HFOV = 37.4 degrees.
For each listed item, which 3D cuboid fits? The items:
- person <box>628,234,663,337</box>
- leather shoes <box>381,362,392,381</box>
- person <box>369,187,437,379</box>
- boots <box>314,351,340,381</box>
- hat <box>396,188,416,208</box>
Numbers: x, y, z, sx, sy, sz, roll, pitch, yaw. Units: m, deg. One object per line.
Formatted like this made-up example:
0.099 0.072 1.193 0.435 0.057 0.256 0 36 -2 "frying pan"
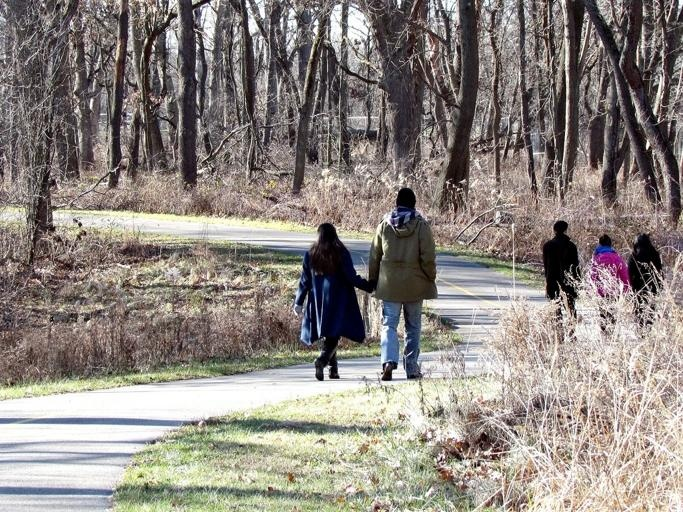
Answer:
5.201 0.431 17.529 0.555 1.835 0.477 10 37 31 "person"
0.649 1.785 15.113 0.101 0.359 0.136 4 21 -2 "leather shoes"
0.899 0.526 15.378 1.001 3.012 0.695 -3 9 1 "person"
-0.275 1.761 15.980 0.185 0.334 0.688 1 -12 10 "boots"
0.950 -0.885 15.530 0.230 0.380 0.335 3 16 1 "hat"
